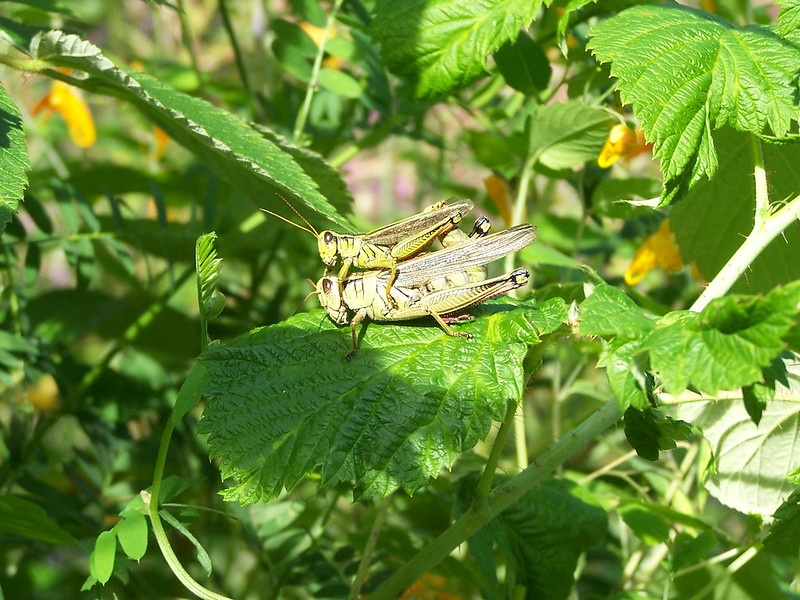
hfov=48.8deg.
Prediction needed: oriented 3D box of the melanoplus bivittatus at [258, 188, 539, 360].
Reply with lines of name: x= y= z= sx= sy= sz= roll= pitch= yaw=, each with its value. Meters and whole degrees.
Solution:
melanoplus bivittatus: x=0.047 y=-0.058 z=1.932 sx=0.500 sy=0.287 sz=0.245 roll=-2 pitch=3 yaw=8

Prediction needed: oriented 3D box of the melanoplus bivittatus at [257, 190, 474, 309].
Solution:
melanoplus bivittatus: x=-0.057 y=-0.130 z=1.966 sx=0.401 sy=0.211 sz=0.195 roll=-5 pitch=19 yaw=-10
